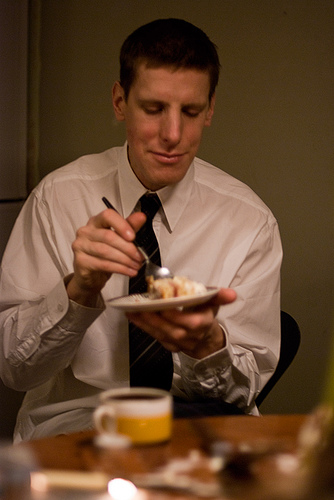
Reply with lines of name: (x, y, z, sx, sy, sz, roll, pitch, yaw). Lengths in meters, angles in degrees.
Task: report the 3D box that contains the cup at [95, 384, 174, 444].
cup: (-0.055, 0.256, 0.763, 0.116, 0.068, 0.082, -2, -3, 14)
